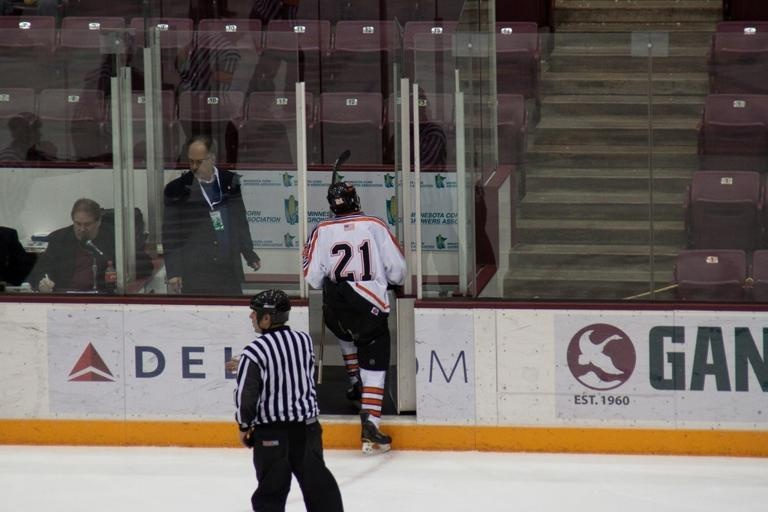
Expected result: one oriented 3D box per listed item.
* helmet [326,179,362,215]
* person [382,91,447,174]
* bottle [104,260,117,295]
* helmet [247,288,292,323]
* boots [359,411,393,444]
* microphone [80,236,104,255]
[{"bbox_3d":[-0.370,-0.485,12.515,0.301,0.330,0.359,-14,14,-3],"label":"helmet"},{"bbox_3d":[0.389,-1.063,12.901,0.708,0.658,0.237,2,5,14],"label":"person"},{"bbox_3d":[-2.370,0.175,12.607,0.105,0.270,0.035,-1,1,-2],"label":"bottle"},{"bbox_3d":[-0.861,0.355,10.825,0.310,0.256,0.235,3,14,4],"label":"helmet"},{"bbox_3d":[-0.071,1.465,12.365,0.141,0.321,0.395,0,-13,38],"label":"boots"},{"bbox_3d":[-2.518,-0.081,12.675,0.274,0.073,0.074,42,17,2],"label":"microphone"}]
